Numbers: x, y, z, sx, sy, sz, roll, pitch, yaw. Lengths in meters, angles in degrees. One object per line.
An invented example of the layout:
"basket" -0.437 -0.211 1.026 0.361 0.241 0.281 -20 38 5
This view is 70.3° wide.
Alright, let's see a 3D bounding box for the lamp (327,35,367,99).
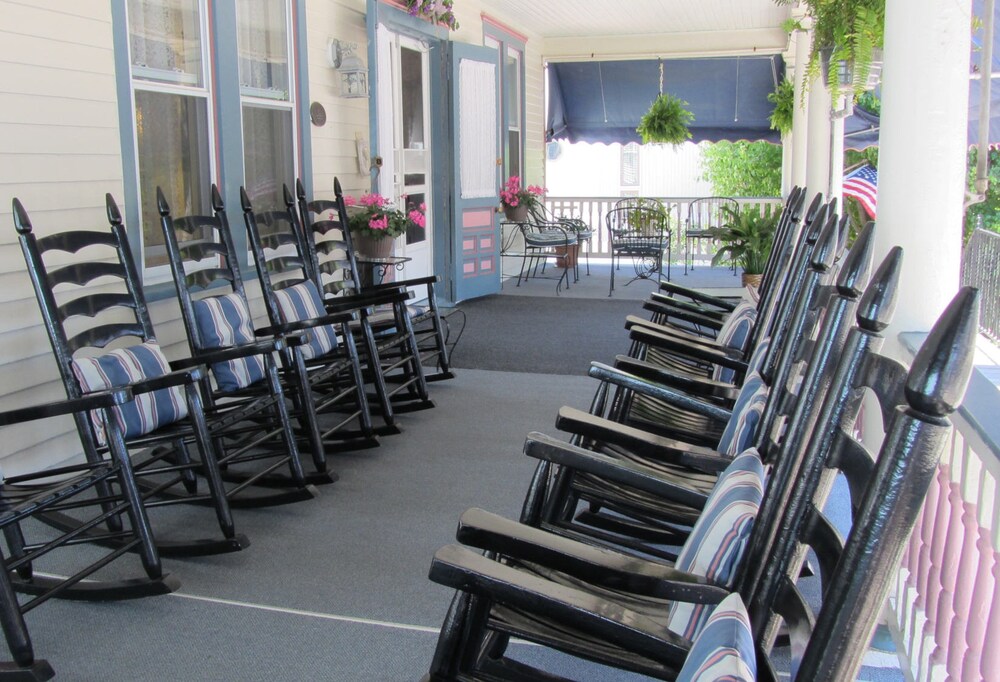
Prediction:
"lamp" -1.228 -2.295 5.922 0.280 0.530 0.295 17 28 41
